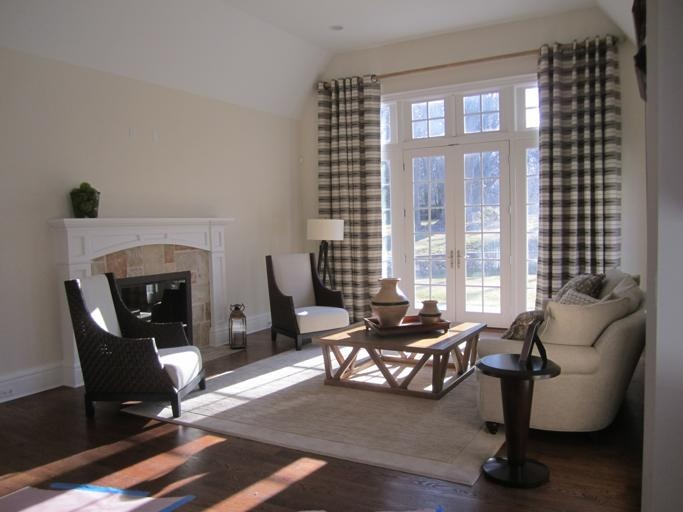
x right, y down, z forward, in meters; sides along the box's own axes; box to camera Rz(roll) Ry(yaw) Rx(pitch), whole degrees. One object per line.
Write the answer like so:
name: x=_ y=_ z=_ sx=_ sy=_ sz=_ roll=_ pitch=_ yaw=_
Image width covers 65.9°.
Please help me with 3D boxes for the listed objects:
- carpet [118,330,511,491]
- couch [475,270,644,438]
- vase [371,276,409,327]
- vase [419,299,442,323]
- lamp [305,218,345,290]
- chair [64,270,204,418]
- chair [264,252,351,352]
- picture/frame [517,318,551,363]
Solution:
carpet: x=-0.045 y=1.229 z=4.396 sx=2.737 sy=0.069 sz=1.609 roll=3 pitch=9 yaw=25
couch: x=1.718 y=0.675 z=4.036 sx=0.941 sy=0.965 sz=1.626 roll=-2 pitch=-3 yaw=26
vase: x=0.435 y=0.426 z=4.973 sx=0.399 sy=0.426 sz=0.380 roll=-5 pitch=8 yaw=-27
vase: x=0.825 y=0.511 z=4.958 sx=0.193 sy=0.182 sz=0.168 roll=-3 pitch=9 yaw=-11
lamp: x=-0.229 y=-0.112 z=6.942 sx=0.584 sy=0.820 sz=0.560 roll=3 pitch=18 yaw=-12
chair: x=-1.737 y=0.700 z=4.485 sx=1.042 sy=1.010 sz=0.861 roll=2 pitch=3 yaw=-14
chair: x=-0.436 y=0.488 z=6.410 sx=0.985 sy=0.997 sz=0.946 roll=1 pitch=5 yaw=27
picture/frame: x=1.198 y=0.523 z=3.285 sx=0.178 sy=0.272 sz=0.070 roll=0 pitch=3 yaw=-22
